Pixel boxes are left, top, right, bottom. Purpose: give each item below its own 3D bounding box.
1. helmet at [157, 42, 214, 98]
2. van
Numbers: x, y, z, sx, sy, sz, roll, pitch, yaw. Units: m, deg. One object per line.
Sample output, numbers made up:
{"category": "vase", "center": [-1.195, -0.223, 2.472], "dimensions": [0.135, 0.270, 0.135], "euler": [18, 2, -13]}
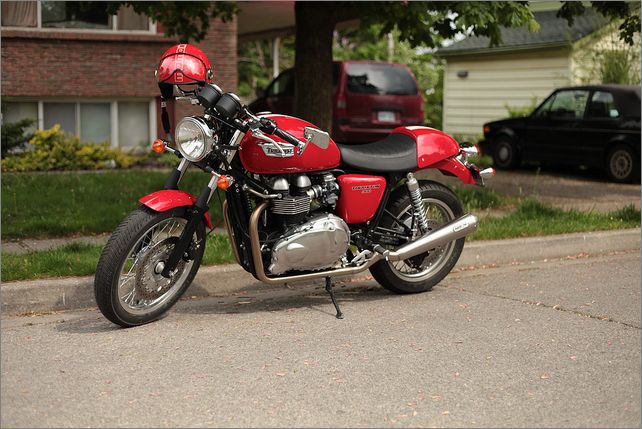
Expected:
{"category": "helmet", "center": [-1.211, -1.272, 5.629], "dimensions": [0.533, 0.489, 0.574], "euler": [-7, 16, -22]}
{"category": "van", "center": [0.576, -3.118, 16.974], "dimensions": [2.492, 1.864, 4.414], "euler": [-5, 15, -22]}
